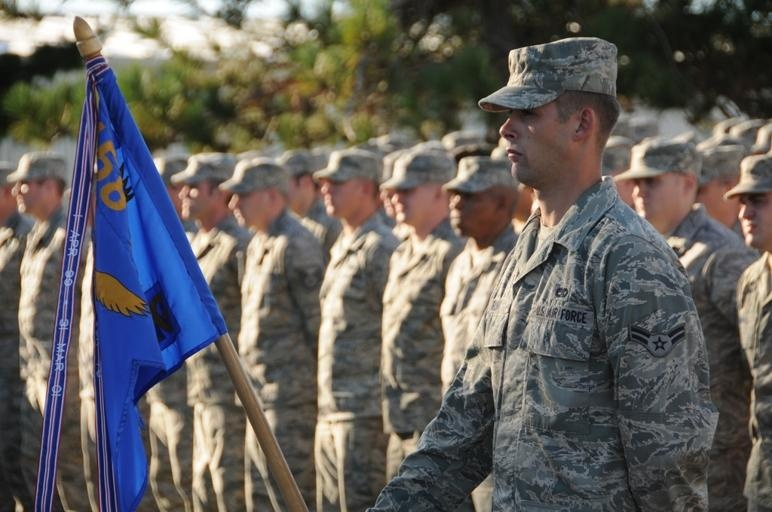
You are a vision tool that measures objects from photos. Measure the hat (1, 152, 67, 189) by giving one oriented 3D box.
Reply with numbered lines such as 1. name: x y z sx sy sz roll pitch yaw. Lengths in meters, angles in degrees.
1. hat: -3.622 -0.902 27.467 0.516 0.227 0.350 5 -8 -32
